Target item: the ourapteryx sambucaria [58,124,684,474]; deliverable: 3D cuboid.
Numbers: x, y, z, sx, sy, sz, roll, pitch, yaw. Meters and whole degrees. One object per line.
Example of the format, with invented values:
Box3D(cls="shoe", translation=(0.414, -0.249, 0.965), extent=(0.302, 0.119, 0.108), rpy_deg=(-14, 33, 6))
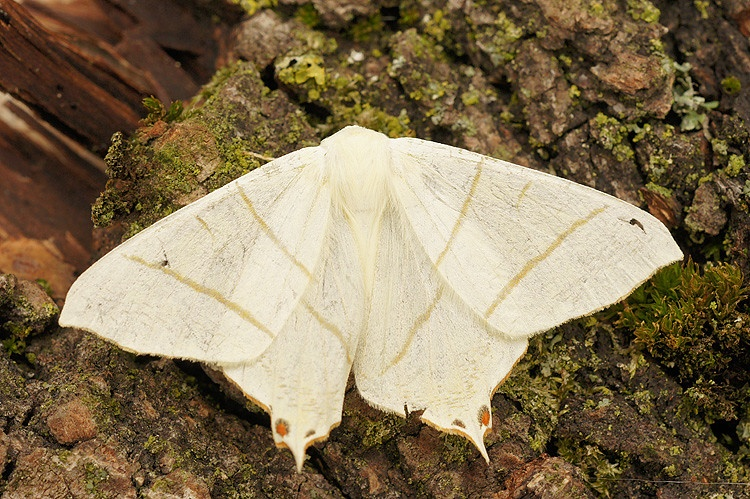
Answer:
Box3D(cls="ourapteryx sambucaria", translation=(-0.036, 0.315, 11.241), extent=(5.424, 0.787, 2.851), rpy_deg=(-5, 83, 1))
